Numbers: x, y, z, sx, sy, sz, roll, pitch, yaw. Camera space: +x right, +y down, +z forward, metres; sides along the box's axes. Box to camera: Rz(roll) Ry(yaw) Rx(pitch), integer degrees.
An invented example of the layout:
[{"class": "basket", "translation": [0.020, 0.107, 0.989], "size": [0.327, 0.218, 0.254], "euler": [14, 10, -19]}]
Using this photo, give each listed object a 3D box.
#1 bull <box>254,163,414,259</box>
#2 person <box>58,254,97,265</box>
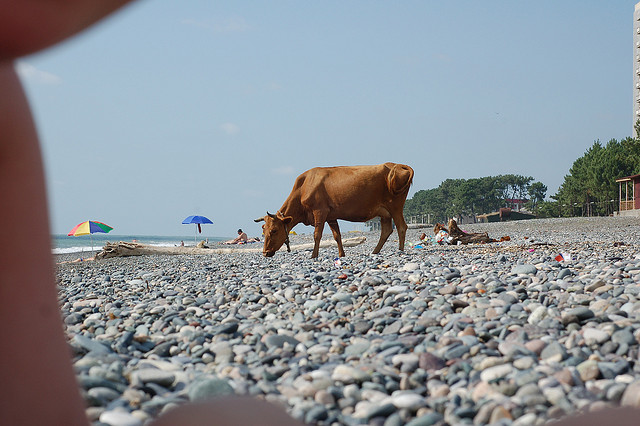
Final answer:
[{"class": "bull", "translation": [0.288, -0.023, 8.518], "size": [2.044, 1.353, 0.916], "euler": [0, -1, 8]}, {"class": "person", "translation": [-5.361, 1.033, 13.036], "size": [0.796, 0.161, 0.144], "euler": [-15, 13, 21]}]
